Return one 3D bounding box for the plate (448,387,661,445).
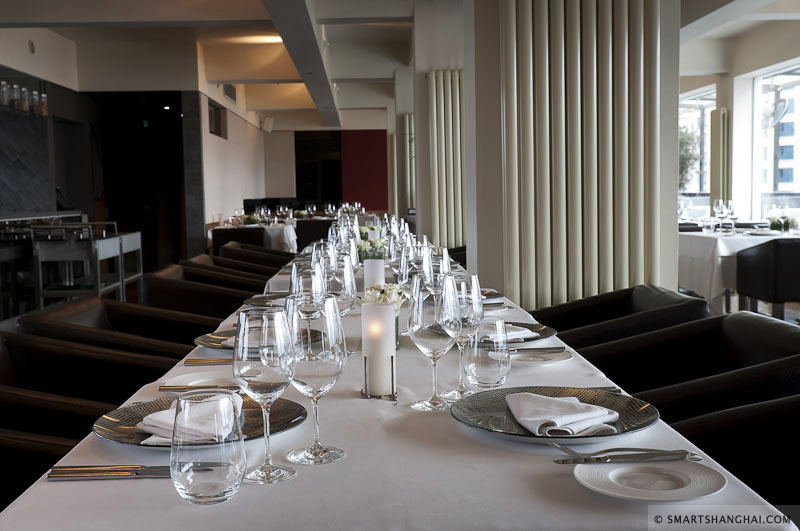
[{"bbox_3d":[0.393,0.369,1.515,0.518,0.058,0.355,-1,12,2],"label":"plate"}]

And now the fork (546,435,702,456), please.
[{"bbox_3d":[0.507,0.418,1.342,0.373,0.070,0.028,-3,4,5],"label":"fork"}]

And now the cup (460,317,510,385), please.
[{"bbox_3d":[0.230,0.236,1.634,0.148,0.220,0.157,0,0,0],"label":"cup"}]

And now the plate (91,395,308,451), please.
[{"bbox_3d":[-0.543,0.393,1.449,0.256,0.030,0.261,2,1,18],"label":"plate"}]

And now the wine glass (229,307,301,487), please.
[{"bbox_3d":[-0.293,0.281,1.276,0.131,0.354,0.149,-5,12,-15],"label":"wine glass"}]

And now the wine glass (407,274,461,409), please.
[{"bbox_3d":[0.104,0.201,1.689,0.148,0.337,0.360,-1,12,3],"label":"wine glass"}]
